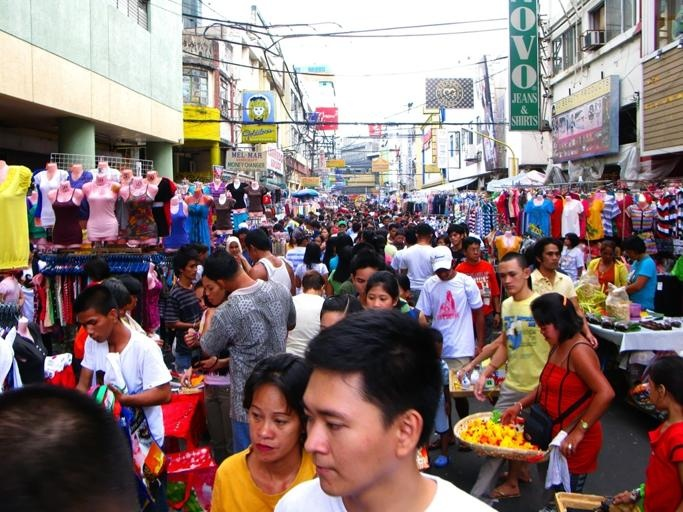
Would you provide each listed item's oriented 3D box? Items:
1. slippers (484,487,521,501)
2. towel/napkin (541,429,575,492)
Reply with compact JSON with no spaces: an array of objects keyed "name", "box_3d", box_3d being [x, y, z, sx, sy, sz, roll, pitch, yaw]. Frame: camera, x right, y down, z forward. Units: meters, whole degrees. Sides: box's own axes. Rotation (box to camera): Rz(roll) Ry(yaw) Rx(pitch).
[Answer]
[{"name":"slippers","box_3d":[1.393,2.062,4.959,0.304,0.149,0.126,5,-2,-6]},{"name":"towel/napkin","box_3d":[1.490,1.458,4.046,0.223,0.409,0.218,3,7,8]}]
